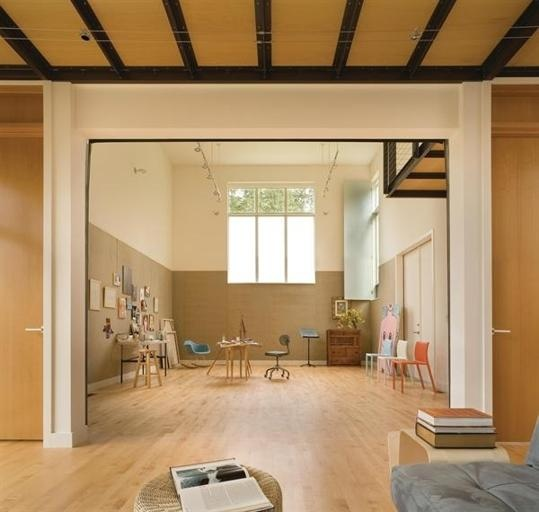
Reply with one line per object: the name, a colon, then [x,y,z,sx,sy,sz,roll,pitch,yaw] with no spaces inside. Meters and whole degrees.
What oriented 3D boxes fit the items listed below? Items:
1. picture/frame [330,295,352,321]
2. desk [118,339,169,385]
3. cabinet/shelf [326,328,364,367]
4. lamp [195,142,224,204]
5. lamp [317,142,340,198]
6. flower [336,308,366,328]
picture/frame: [2.044,1.498,12.734,0.629,0.855,0.058,2,-10,-4]
desk: [-2.541,2.099,8.771,0.379,0.738,1.101,-1,-6,2]
cabinet/shelf: [2.056,2.541,12.331,0.887,1.005,0.367,0,-6,0]
lamp: [-1.752,-2.257,12.584,0.637,1.235,1.620,0,-8,0]
lamp: [1.663,-2.175,13.177,0.205,2.272,0.339,18,11,10]
flower: [2.340,1.794,12.557,0.593,0.626,0.598,6,-10,-32]
